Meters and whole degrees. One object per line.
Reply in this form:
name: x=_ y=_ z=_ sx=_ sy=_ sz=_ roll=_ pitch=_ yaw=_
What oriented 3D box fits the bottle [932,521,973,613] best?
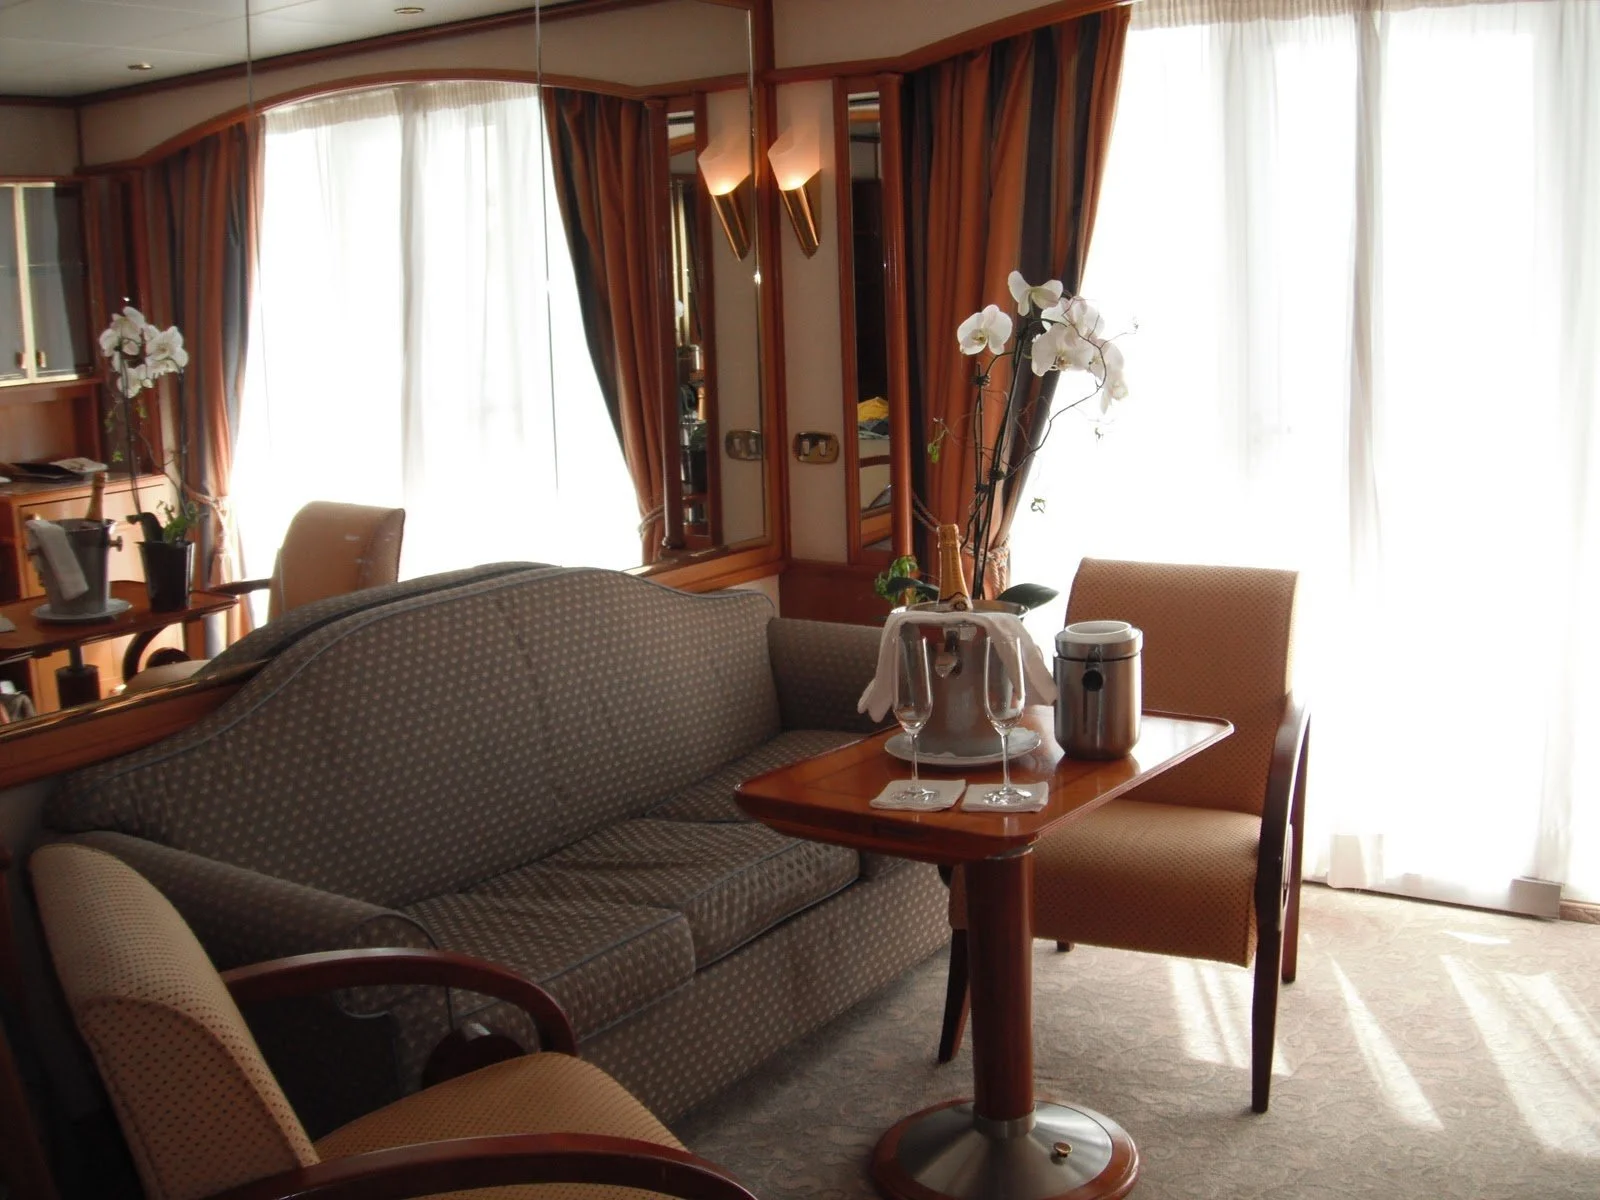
bottle: x=0.344 y=-0.089 z=2.888 sx=0.075 sy=0.198 sz=0.229 roll=-1 pitch=13 yaw=5

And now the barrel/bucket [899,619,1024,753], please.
barrel/bucket: x=0.389 y=0.172 z=2.883 sx=0.261 sy=0.330 sz=0.283 roll=-2 pitch=11 yaw=0
